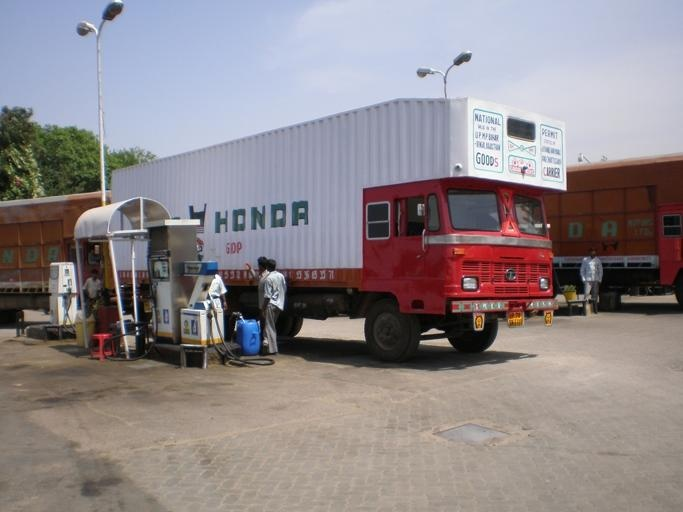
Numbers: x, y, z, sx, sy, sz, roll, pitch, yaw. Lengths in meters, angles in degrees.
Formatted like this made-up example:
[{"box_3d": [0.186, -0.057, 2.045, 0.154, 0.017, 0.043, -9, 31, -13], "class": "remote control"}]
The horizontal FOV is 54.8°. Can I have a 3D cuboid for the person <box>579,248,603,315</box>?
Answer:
[{"box_3d": [7.931, 0.801, 20.907, 0.638, 2.040, 1.180, -2, -2, 21], "class": "person"}]

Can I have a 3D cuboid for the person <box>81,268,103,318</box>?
[{"box_3d": [-6.266, 1.025, 16.592, 0.448, 1.389, 0.371, -1, 12, -25], "class": "person"}]

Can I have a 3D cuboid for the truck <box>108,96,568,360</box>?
[{"box_3d": [-1.208, -0.274, 16.559, 12.047, 5.130, 3.976, -2, 4, 44], "class": "truck"}]

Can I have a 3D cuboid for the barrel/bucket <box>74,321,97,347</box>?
[{"box_3d": [-5.836, 1.732, 14.970, 0.384, 0.655, 0.847, -1, -3, -22], "class": "barrel/bucket"}]

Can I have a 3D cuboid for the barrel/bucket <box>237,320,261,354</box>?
[{"box_3d": [-1.897, 1.610, 13.304, 0.465, 0.756, 0.483, 1, 6, 0], "class": "barrel/bucket"}]
